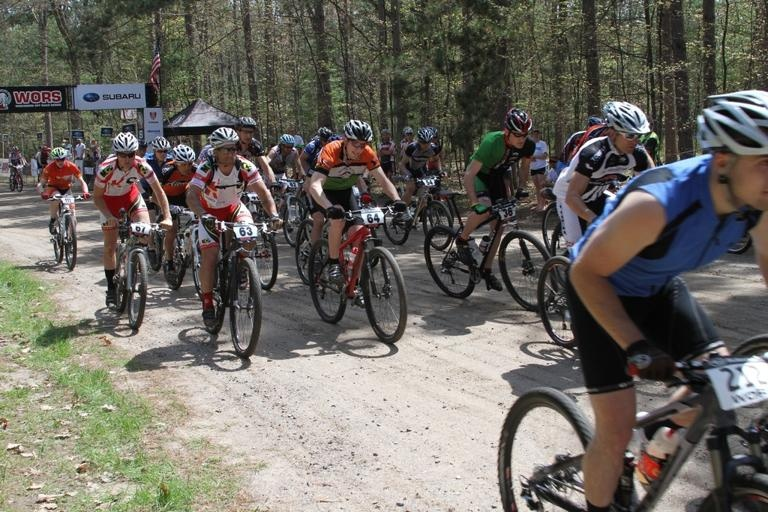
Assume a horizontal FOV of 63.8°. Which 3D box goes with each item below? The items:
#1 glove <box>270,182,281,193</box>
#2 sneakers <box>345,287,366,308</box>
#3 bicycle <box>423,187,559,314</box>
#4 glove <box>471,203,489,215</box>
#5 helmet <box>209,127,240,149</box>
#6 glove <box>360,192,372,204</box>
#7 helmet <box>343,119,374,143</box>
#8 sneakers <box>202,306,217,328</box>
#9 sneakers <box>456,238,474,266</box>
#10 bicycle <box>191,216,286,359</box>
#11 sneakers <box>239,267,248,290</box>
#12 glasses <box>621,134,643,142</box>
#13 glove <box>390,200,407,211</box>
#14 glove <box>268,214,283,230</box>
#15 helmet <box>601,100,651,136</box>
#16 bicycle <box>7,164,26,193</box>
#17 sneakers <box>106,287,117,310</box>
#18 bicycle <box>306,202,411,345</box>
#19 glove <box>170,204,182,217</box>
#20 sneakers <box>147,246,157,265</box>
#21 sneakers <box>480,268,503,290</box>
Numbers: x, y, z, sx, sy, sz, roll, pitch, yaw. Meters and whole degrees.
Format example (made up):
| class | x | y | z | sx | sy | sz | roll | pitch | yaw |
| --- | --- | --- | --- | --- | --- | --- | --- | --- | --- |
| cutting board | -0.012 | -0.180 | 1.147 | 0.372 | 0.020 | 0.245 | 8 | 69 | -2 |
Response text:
| class | x | y | z | sx | sy | sz | roll | pitch | yaw |
| --- | --- | --- | --- | --- | --- | --- | --- | --- | --- |
| glove | -2.045 | -1.315 | 11.713 | 0.214 | 0.113 | 0.306 | 2 | 6 | -7 |
| sneakers | -0.357 | 0.498 | 7.788 | 0.304 | 0.137 | 0.188 | 32 | 14 | 33 |
| bicycle | 1.372 | -0.097 | 8.649 | 1.162 | 1.604 | 2.453 | -22 | 17 | -36 |
| glove | 1.331 | -0.644 | 8.415 | 0.264 | 0.149 | 0.145 | 4 | 15 | 23 |
| helmet | -1.991 | -1.467 | 7.656 | 0.309 | 0.238 | 0.348 | -8 | 15 | -21 |
| glove | -0.227 | -0.705 | 7.671 | 0.134 | 0.119 | 0.175 | -3 | 14 | -4 |
| helmet | -0.344 | -1.561 | 7.594 | 0.236 | 0.152 | 0.348 | 4 | 21 | -24 |
| sneakers | -2.210 | 0.767 | 7.776 | 0.147 | 0.267 | 0.249 | 3 | -13 | -26 |
| sneakers | 1.162 | -0.065 | 8.792 | 0.153 | 0.191 | 0.478 | -17 | 54 | -13 |
| bicycle | -1.764 | 0.319 | 7.382 | 0.615 | 1.590 | 1.389 | -9 | 15 | -28 |
| sneakers | -1.662 | 0.275 | 7.277 | 0.063 | 0.201 | 0.201 | -3 | 43 | -31 |
| glasses | 2.548 | -1.213 | 6.326 | 0.111 | 0.036 | 0.119 | -3 | 28 | -26 |
| glove | 0.189 | -0.611 | 7.686 | 0.147 | 0.119 | 0.148 | 20 | -12 | -2 |
| glove | -1.344 | -0.428 | 7.722 | 0.147 | 0.082 | 0.199 | -7 | 18 | -38 |
| helmet | 2.472 | -1.441 | 6.352 | 0.293 | 0.174 | 0.519 | -15 | 37 | -8 |
| bicycle | -18.567 | -3.982 | 31.604 | 0.909 | 1.211 | 1.843 | -3 | 9 | -40 |
| sneakers | -4.078 | 0.628 | 9.180 | 0.173 | 0.310 | 0.106 | 2 | 4 | -21 |
| bicycle | -0.629 | 0.294 | 7.763 | 0.906 | 1.228 | 1.920 | -5 | 9 | -30 |
| glove | -3.438 | -0.765 | 10.175 | 0.306 | 0.209 | 0.156 | -1 | 2 | 43 |
| sneakers | -4.239 | -0.010 | 11.276 | 0.188 | 0.340 | 0.127 | 3 | 4 | 20 |
| sneakers | 1.520 | 0.321 | 8.729 | 0.193 | 0.171 | 0.453 | -3 | 10 | 1 |
